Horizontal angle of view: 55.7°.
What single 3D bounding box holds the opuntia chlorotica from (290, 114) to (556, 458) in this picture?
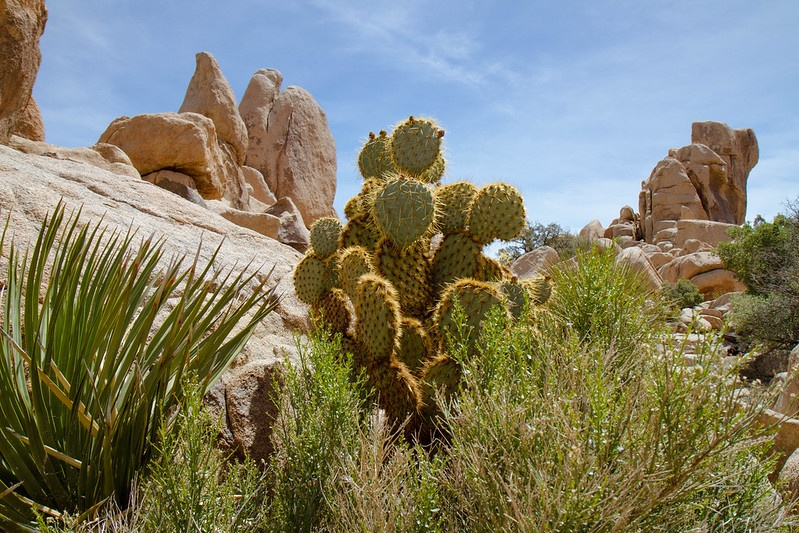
[{"bbox_3d":[0.152,-0.013,5.967,1.205,2.506,2.154,9,0,-36],"label":"opuntia chlorotica"}]
